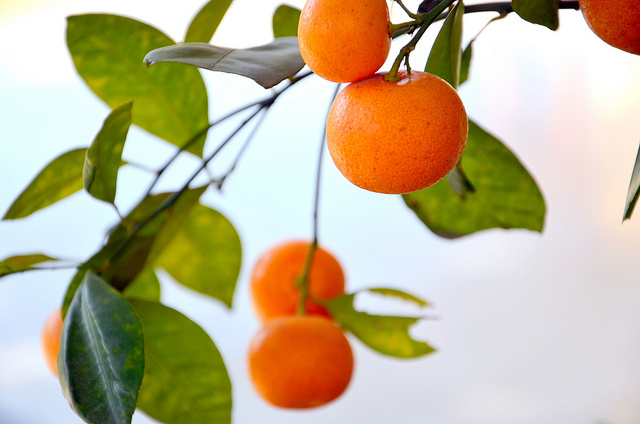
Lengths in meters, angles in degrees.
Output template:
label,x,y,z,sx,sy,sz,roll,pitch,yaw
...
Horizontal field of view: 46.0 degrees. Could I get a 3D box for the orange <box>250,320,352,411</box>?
label,x,y,z,sx,sy,sz,roll,pitch,yaw
orange,-0.017,0.136,0.632,0.078,0.083,0.096,10,-3,12

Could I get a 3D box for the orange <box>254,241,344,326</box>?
label,x,y,z,sx,sy,sz,roll,pitch,yaw
orange,-0.020,0.059,0.629,0.060,0.086,0.066,5,6,8

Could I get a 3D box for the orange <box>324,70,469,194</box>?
label,x,y,z,sx,sy,sz,roll,pitch,yaw
orange,0.053,-0.067,0.593,0.106,0.120,0.092,14,-60,4

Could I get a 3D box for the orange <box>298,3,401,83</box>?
label,x,y,z,sx,sy,sz,roll,pitch,yaw
orange,0.022,-0.143,0.590,0.058,0.059,0.059,-19,-31,25
